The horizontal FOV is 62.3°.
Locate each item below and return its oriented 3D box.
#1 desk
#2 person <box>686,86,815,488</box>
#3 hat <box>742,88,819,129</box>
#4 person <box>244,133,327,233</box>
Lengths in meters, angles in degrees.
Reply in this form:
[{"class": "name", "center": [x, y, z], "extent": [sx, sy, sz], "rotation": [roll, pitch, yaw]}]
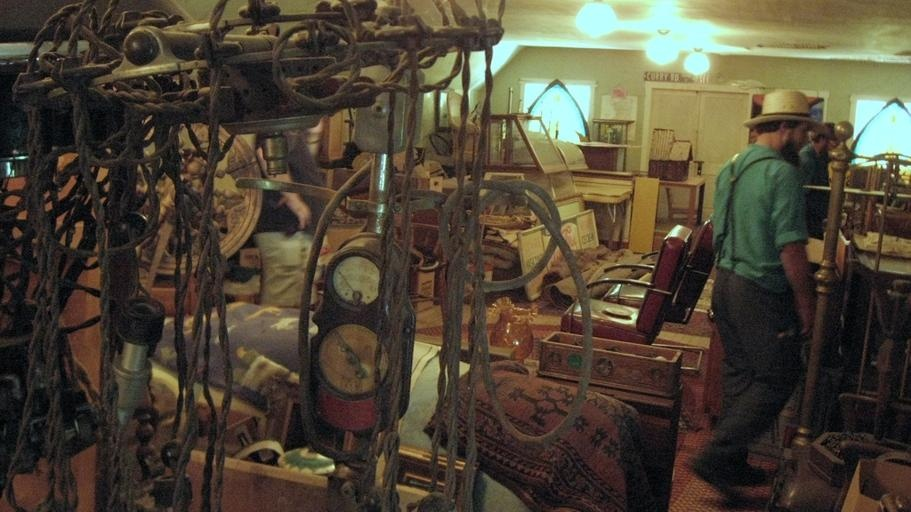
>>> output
[{"class": "desk", "center": [2.853, -0.820, 12.053], "extent": [2.091, 0.995, 1.465], "rotation": [3, 7, 22]}, {"class": "person", "center": [2.232, 0.222, 5.640], "extent": [0.714, 2.896, 0.750], "rotation": [6, 9, 6]}, {"class": "hat", "center": [2.505, -1.105, 5.721], "extent": [0.640, 0.242, 0.570], "rotation": [3, 4, 20]}, {"class": "person", "center": [-1.320, -0.590, 6.082], "extent": [0.598, 0.799, 0.327], "rotation": [-1, 10, -31]}]
